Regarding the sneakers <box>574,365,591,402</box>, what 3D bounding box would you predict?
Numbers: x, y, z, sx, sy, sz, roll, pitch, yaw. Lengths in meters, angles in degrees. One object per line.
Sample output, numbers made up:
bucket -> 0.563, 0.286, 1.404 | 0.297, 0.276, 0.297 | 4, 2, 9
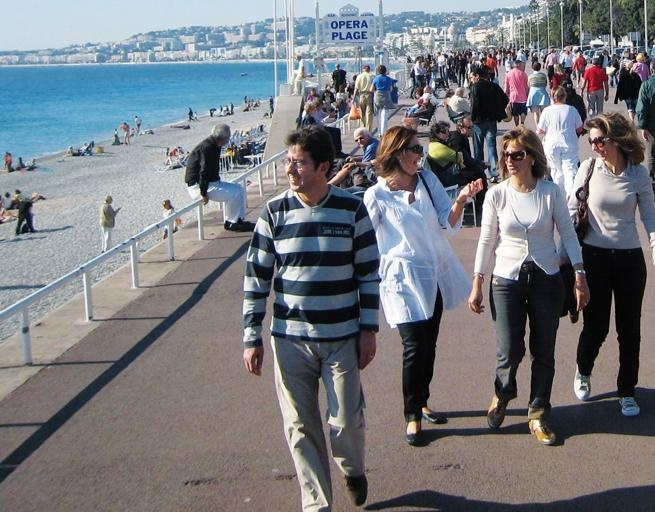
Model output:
sneakers -> 1.956, 0.975, 4.588 | 0.084, 0.282, 0.106 | 3, -6, 10

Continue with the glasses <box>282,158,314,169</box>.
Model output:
glasses -> -0.180, -0.526, 3.391 | 0.090, 0.059, 0.186 | -15, 20, -39

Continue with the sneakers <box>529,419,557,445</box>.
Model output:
sneakers -> 1.477, 1.195, 4.093 | 0.089, 0.112, 0.234 | -8, -4, -4

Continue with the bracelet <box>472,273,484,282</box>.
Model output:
bracelet -> 1.081, 0.152, 4.278 | 0.052, 0.069, 0.034 | -2, 2, 7

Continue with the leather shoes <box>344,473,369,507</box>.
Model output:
leather shoes -> 0.181, 1.374, 3.532 | 0.100, 0.215, 0.132 | -11, 8, 11

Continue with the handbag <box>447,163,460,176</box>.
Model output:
handbag -> 1.953, -1.328, 9.181 | 0.140, 0.146, 0.138 | 2, 42, 8

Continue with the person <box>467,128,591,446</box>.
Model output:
person -> 1.371, 0.200, 4.094 | 0.745, 2.059, 0.465 | 5, 16, 29

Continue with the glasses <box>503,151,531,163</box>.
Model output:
glasses -> 1.247, -0.664, 3.971 | 0.147, 0.073, 0.066 | 3, 15, 19

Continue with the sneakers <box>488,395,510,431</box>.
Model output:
sneakers -> 1.205, 1.110, 4.250 | 0.095, 0.319, 0.120 | 10, -5, 8

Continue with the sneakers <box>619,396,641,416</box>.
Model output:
sneakers -> 2.176, 1.084, 4.311 | 0.075, 0.078, 0.186 | -5, -3, 6

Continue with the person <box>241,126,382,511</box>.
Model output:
person -> -0.095, 0.385, 3.453 | 0.678, 2.187, 0.661 | 8, 17, 36
